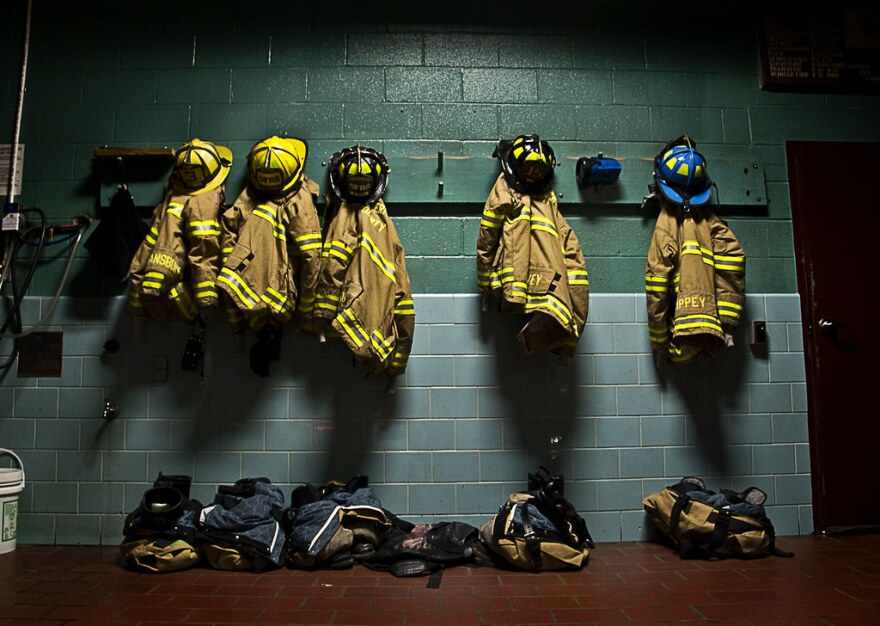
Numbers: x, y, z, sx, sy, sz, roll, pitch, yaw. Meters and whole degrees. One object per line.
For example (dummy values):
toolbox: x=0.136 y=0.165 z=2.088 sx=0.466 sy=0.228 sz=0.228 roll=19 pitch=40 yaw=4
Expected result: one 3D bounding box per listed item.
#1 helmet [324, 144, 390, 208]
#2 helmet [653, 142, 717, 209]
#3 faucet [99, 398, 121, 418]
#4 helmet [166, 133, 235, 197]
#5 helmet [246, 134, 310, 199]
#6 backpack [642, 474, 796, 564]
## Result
helmet: x=-0.603 y=-0.971 z=5.350 sx=0.566 sy=0.413 sz=0.521 roll=-1 pitch=21 yaw=-8
helmet: x=1.713 y=-1.018 z=5.355 sx=0.464 sy=0.246 sz=0.541 roll=3 pitch=46 yaw=-6
faucet: x=-2.262 y=0.661 z=5.249 sx=0.125 sy=0.144 sz=0.052 roll=3 pitch=5 yaw=19
helmet: x=-1.612 y=-0.984 z=5.102 sx=0.453 sy=0.197 sz=0.517 roll=-2 pitch=-4 yaw=-17
helmet: x=-1.142 y=-1.040 z=5.199 sx=0.481 sy=0.560 sz=0.219 roll=0 pitch=-40 yaw=-7
backpack: x=1.744 y=1.345 z=4.956 sx=0.670 sy=0.245 sz=0.498 roll=3 pitch=-9 yaw=-22
